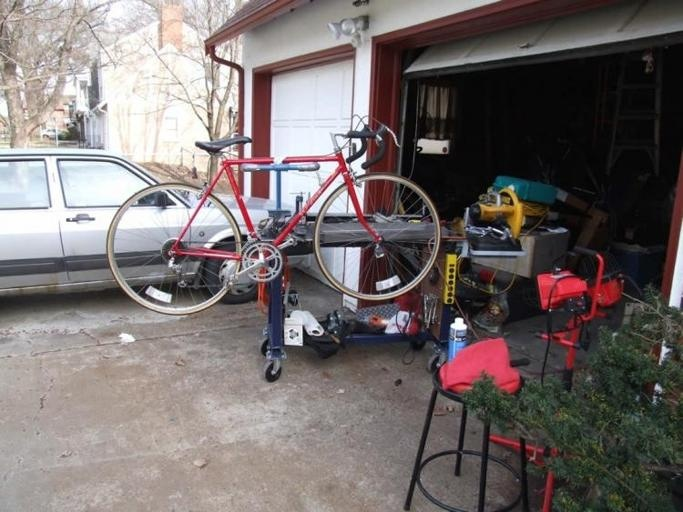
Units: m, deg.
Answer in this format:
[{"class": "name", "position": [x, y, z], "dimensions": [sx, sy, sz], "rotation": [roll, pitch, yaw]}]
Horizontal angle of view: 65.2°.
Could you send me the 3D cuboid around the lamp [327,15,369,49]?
[{"class": "lamp", "position": [0.057, -2.512, 5.991], "dimensions": [0.343, 0.326, 0.533], "rotation": [-6, 16, -25]}]
